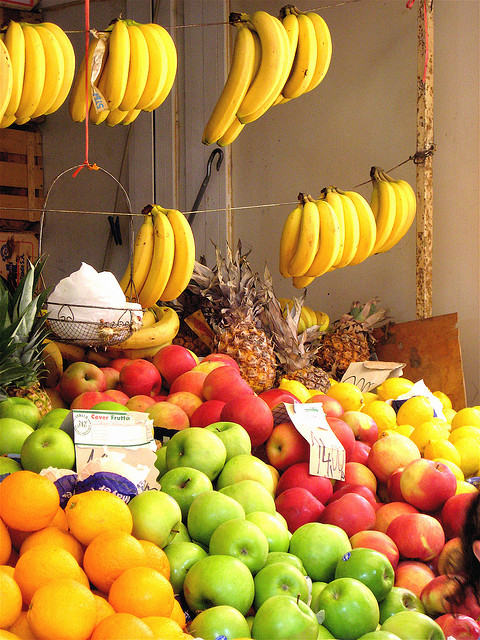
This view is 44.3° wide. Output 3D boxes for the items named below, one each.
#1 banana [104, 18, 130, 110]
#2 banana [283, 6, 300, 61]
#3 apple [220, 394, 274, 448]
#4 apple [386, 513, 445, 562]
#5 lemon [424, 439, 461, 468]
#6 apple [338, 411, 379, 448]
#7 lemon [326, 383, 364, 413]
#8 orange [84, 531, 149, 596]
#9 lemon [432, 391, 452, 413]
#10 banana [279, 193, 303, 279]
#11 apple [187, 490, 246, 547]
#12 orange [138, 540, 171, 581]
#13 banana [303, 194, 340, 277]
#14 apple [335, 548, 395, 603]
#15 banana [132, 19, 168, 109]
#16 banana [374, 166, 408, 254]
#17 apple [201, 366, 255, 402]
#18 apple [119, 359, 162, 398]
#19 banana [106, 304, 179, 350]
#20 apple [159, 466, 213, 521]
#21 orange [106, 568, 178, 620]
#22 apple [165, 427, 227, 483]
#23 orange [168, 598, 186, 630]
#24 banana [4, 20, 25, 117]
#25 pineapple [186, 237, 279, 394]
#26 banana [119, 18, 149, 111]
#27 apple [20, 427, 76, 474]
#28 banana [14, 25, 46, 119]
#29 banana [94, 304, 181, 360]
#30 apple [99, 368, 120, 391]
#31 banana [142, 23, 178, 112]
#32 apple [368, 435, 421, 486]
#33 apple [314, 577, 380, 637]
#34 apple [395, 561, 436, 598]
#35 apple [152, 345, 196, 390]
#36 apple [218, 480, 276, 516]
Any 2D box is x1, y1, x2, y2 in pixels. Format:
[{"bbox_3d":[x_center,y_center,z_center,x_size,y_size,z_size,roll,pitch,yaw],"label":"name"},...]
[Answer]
[{"bbox_3d":[-0.420,-0.864,2.023,0.067,0.337,0.093,2,2,-29],"label":"banana"},{"bbox_3d":[0.196,-1.132,2.339,0.063,0.218,0.051,-5,-17,-18],"label":"banana"},{"bbox_3d":[0.012,0.234,1.475,0.103,0.156,0.120,2,8,-8],"label":"apple"},{"bbox_3d":[0.364,0.447,1.213,0.086,0.084,0.093,12,-25,0],"label":"apple"},{"bbox_3d":[0.557,0.363,1.627,0.069,0.106,0.076,-9,-4,0],"label":"lemon"},{"bbox_3d":[0.352,0.314,1.783,0.092,0.103,0.113,21,36,-17],"label":"apple"},{"bbox_3d":[0.371,0.269,2.084,0.102,0.102,0.100,-5,-37,-1],"label":"lemon"},{"bbox_3d":[-0.194,0.368,0.871,0.072,0.097,0.071,16,-29,-36],"label":"orange"},{"bbox_3d":[0.890,0.357,2.578,0.091,0.097,0.087,1,-19,-2],"label":"lemon"},{"bbox_3d":[0.230,-0.376,2.689,0.083,0.383,0.115,11,11,2],"label":"banana"},{"bbox_3d":[-0.064,0.365,1.096,0.077,0.092,0.086,16,-26,8],"label":"apple"},{"bbox_3d":[-0.130,0.373,0.916,0.048,0.060,0.057,3,-41,3],"label":"orange"},{"bbox_3d":[0.392,-0.364,2.661,0.079,0.309,0.230,6,9,13],"label":"banana"},{"bbox_3d":[0.218,0.420,1.034,0.092,0.095,0.084,19,-21,-13],"label":"apple"},{"bbox_3d":[-0.300,-0.911,2.119,0.067,0.274,0.191,5,7,11],"label":"banana"},{"bbox_3d":[0.817,-0.589,3.217,0.172,0.378,0.095,-14,36,-33],"label":"banana"},{"bbox_3d":[-0.033,0.194,1.666,0.095,0.112,0.106,8,-26,25],"label":"apple"},{"bbox_3d":[-0.305,0.177,1.840,0.102,0.127,0.115,-2,16,-20],"label":"apple"},{"bbox_3d":[-0.361,0.042,2.363,0.200,0.064,0.160,-24,22,-10],"label":"banana"},{"bbox_3d":[-0.099,0.341,1.196,0.097,0.095,0.082,-21,-8,-42],"label":"apple"},{"bbox_3d":[-0.132,0.381,0.802,0.093,0.052,0.083,6,3,-12],"label":"orange"},{"bbox_3d":[-0.110,0.298,1.285,0.085,0.113,0.096,0,-8,34],"label":"apple"},{"bbox_3d":[-0.091,0.438,0.880,0.028,0.041,0.029,-6,-14,-41],"label":"orange"},{"bbox_3d":[-0.707,-0.803,1.852,0.060,0.306,0.084,1,1,-39],"label":"banana"},{"bbox_3d":[-0.002,0.039,2.654,0.247,0.730,0.291,-10,-9,-29],"label":"pineapple"},{"bbox_3d":[-0.343,-0.897,2.063,0.049,0.258,0.169,4,3,10],"label":"banana"},{"bbox_3d":[-0.371,0.265,1.135,0.097,0.114,0.092,4,-11,-43],"label":"apple"},{"bbox_3d":[-0.672,-0.820,1.943,0.141,0.233,0.056,-3,7,10],"label":"banana"},{"bbox_3d":[-0.388,0.029,2.371,0.237,0.089,0.186,-40,13,-12],"label":"banana"},{"bbox_3d":[-0.425,0.204,1.964,0.061,0.089,0.063,8,-13,-32],"label":"apple"},{"bbox_3d":[-0.282,-0.929,2.188,0.065,0.303,0.199,4,9,12],"label":"banana"},{"bbox_3d":[0.391,0.390,1.563,0.097,0.136,0.109,2,-26,6],"label":"apple"},{"bbox_3d":[0.168,0.458,0.962,0.074,0.079,0.083,25,27,-40],"label":"apple"},{"bbox_3d":[0.342,0.492,1.150,0.053,0.056,0.049,0,16,-32],"label":"apple"},{"bbox_3d":[-0.215,0.129,1.998,0.125,0.140,0.143,24,36,39],"label":"apple"},{"bbox_3d":[0.021,0.322,1.155,0.068,0.079,0.072,-24,2,-14],"label":"apple"}]
